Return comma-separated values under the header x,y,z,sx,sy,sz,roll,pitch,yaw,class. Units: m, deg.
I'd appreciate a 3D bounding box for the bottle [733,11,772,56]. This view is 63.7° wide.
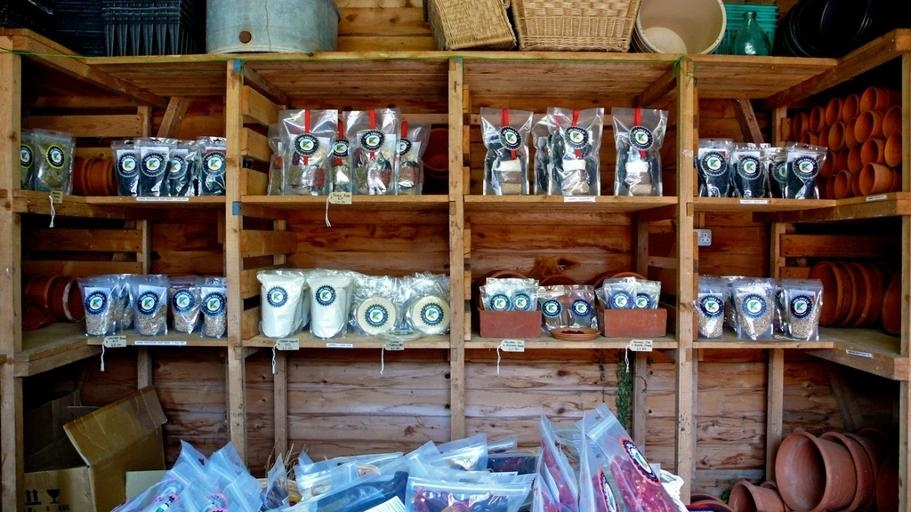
x,y,z,sx,sy,sz,roll,pitch,yaw,class
2.000,-1.459,4.865,0.232,0.295,0.322,18,19,40,bottle

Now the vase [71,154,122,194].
x,y,z,sx,sy,sz,roll,pitch,yaw,class
-2.418,-0.539,5.008,0.227,0.255,0.263,-3,41,-6,vase

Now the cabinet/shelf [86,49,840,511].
x,y,z,sx,sy,sz,roll,pitch,yaw,class
0.092,0.073,4.847,4.004,1.969,0.636,0,-3,-1,cabinet/shelf

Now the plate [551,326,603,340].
x,y,z,sx,sy,sz,roll,pitch,yaw,class
0.789,0.515,4.752,0.318,0.056,0.161,4,13,-1,plate

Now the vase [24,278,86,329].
x,y,z,sx,sy,sz,roll,pitch,yaw,class
-2.736,0.340,5.180,0.403,0.335,0.375,1,-3,2,vase

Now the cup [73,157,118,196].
x,y,z,sx,sy,sz,roll,pitch,yaw,class
-2.404,-0.528,4.996,0.224,0.260,0.249,-2,59,-4,cup

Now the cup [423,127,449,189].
x,y,z,sx,sy,sz,roll,pitch,yaw,class
-0.127,-0.655,5.048,0.182,0.421,0.253,6,15,-3,cup
